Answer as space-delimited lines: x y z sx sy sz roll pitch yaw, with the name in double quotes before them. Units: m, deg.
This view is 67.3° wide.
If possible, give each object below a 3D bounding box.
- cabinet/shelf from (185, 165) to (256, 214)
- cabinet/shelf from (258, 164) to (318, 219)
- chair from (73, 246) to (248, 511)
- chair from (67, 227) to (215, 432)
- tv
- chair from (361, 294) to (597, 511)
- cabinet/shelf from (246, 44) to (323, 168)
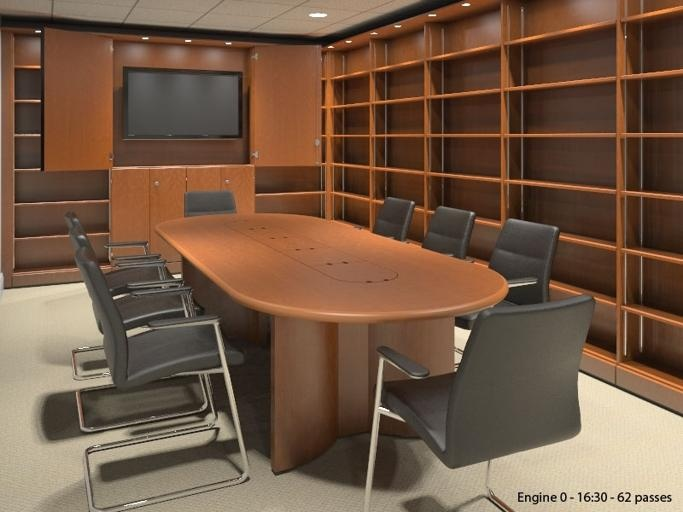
"cabinet/shelf" -1.694 -0.763 6.958 0.969 0.893 0.350 -8 16 -39
"cabinet/shelf" -0.838 -0.971 7.583 0.963 0.961 0.320 1 -1 -16
"chair" -0.963 0.557 2.717 0.818 1.162 0.817 -6 14 -28
"chair" -1.333 0.526 3.430 0.672 0.790 1.189 -3 10 -19
"tv" -2.201 -2.080 6.892 1.066 0.671 0.044 -2 10 -20
"chair" 0.521 0.534 2.078 0.821 0.815 0.417 7 14 26
"cabinet/shelf" -0.770 -2.095 7.120 0.970 1.617 0.251 -2 12 -9
